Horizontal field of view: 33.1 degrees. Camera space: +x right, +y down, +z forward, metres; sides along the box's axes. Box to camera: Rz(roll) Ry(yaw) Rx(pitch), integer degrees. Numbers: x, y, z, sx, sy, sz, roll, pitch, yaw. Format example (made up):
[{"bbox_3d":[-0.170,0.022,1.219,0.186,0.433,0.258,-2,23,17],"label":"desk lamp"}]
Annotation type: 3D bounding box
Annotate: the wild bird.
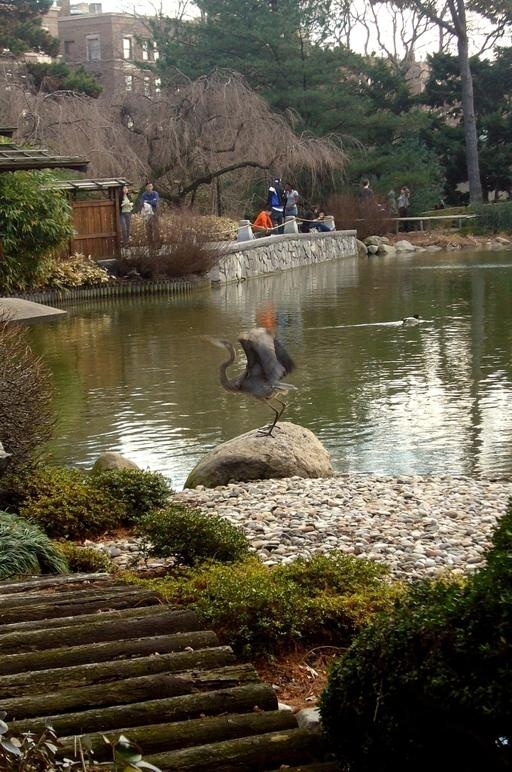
[{"bbox_3d":[-0.023,-0.051,7.621,0.649,0.972,0.996,-2,12,-2],"label":"wild bird"}]
